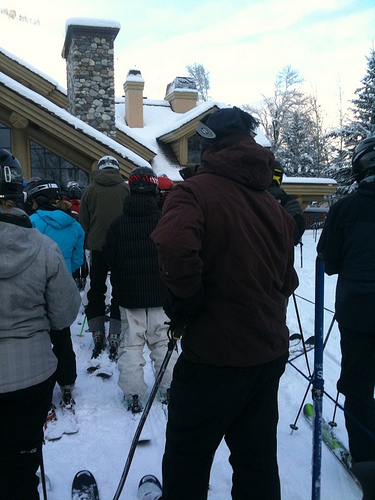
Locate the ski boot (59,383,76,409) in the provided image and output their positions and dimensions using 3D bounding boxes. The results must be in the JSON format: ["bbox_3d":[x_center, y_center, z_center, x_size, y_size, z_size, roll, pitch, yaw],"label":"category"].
[{"bbox_3d":[-1.054,1.249,3.908,0.132,0.242,0.314,-2,9,-16],"label":"ski boot"}]

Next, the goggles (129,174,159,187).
[{"bbox_3d":[-0.404,-0.634,4.030,0.253,0.098,0.148,-1,9,-15],"label":"goggles"}]

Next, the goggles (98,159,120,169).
[{"bbox_3d":[-0.983,-1.073,5.524,0.244,0.096,0.197,-1,9,-14],"label":"goggles"}]

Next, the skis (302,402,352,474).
[{"bbox_3d":[0.934,1.321,3.314,0.151,0.145,1.238,-15,-2,11],"label":"skis"}]

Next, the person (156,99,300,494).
[{"bbox_3d":[0.170,0.203,2.064,0.664,1.749,0.504,-2,9,-14],"label":"person"}]

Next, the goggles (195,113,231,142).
[{"bbox_3d":[0.121,-0.581,2.188,0.159,0.059,0.118,16,-44,-26],"label":"goggles"}]

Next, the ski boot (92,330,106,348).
[{"bbox_3d":[-1.024,1.010,5.088,0.108,0.080,0.246,-3,25,-2],"label":"ski boot"}]
